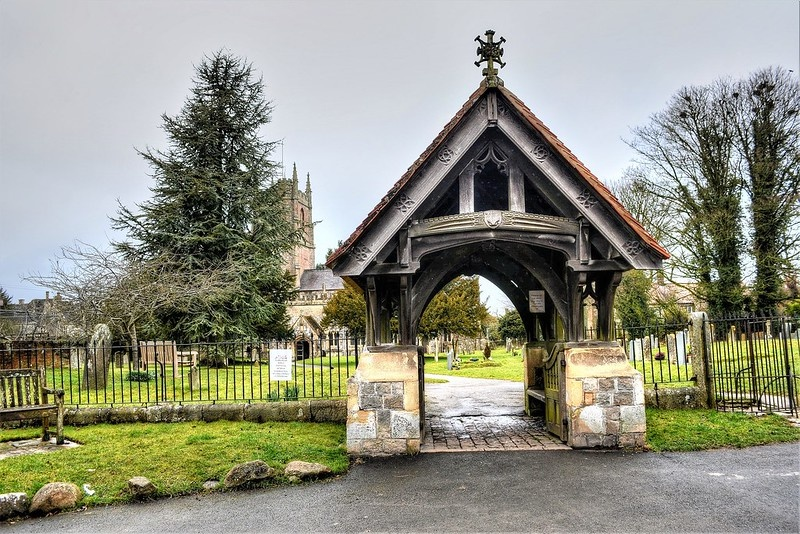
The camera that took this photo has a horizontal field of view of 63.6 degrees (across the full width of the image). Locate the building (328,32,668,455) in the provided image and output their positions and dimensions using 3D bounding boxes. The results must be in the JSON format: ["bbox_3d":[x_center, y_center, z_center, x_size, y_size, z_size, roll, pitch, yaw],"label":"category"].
[{"bbox_3d":[2.116,-0.576,17.711,8.472,9.580,6.087,-1,0,-11],"label":"building"}]

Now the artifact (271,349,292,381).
[{"bbox_3d":[-3.257,2.657,17.540,0.589,0.902,0.571,-3,6,-18],"label":"artifact"}]
